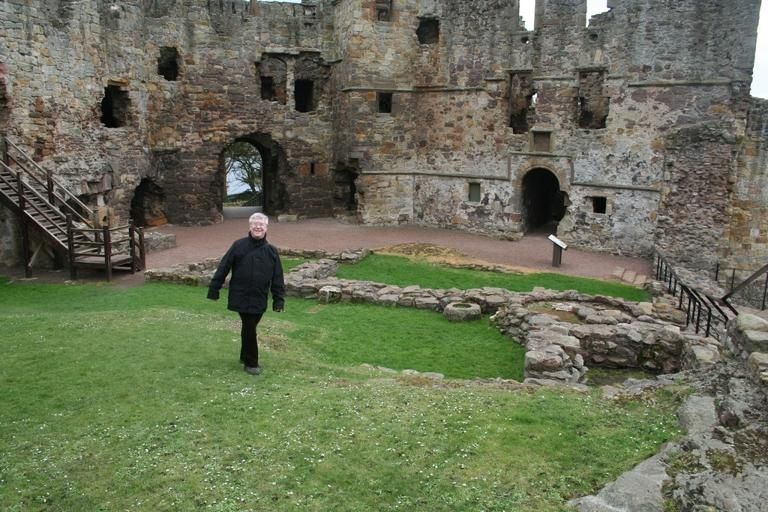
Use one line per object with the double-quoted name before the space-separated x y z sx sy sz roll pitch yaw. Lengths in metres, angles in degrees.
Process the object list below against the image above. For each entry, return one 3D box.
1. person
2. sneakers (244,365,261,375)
"person" -2.051 0.576 8.168 1.004 2.427 0.846 8 16 16
"sneakers" -2.041 1.770 8.184 0.225 0.040 0.112 6 19 10
